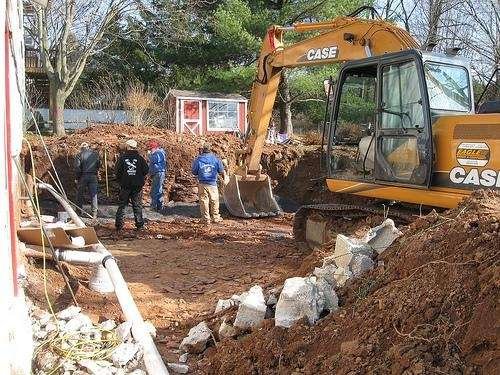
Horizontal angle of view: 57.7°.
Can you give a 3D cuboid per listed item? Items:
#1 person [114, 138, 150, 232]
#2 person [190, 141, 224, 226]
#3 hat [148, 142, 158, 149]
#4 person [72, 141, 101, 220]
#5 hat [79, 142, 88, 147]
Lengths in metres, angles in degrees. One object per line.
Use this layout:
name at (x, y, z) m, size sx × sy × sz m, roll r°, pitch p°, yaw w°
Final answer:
person at (-2.856, 0.088, 10.890) m, size 0.731 × 2.002 × 0.599 m, roll 0°, pitch 7°, yaw -17°
person at (-1.134, -0.102, 12.055) m, size 0.810 × 2.113 × 0.783 m, roll 2°, pitch 7°, yaw -4°
hat at (-2.834, -1.276, 13.304) m, size 0.281 × 0.206 × 0.363 m, roll -3°, pitch 4°, yaw -24°
person at (-4.416, -0.205, 12.287) m, size 0.642 × 2.022 × 0.450 m, roll 1°, pitch 7°, yaw -9°
hat at (-4.468, -1.145, 12.238) m, size 0.217 × 0.146 × 0.293 m, roll -4°, pitch 13°, yaw -34°
